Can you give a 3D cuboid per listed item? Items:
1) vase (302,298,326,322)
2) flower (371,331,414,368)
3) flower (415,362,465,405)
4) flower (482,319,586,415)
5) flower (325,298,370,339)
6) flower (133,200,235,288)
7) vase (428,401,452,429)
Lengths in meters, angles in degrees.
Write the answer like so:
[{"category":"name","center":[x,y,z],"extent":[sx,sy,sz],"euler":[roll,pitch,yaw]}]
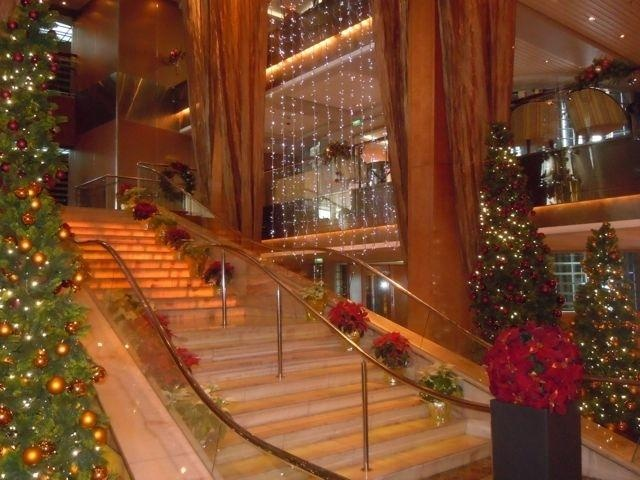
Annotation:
[{"category":"vase","center":[-0.056,0.916,7.052],"extent":[0.363,0.425,0.375],"euler":[1,-1,3]},{"category":"flower","center":[0.899,1.317,6.328],"extent":[0.424,0.335,0.441],"euler":[0,-4,9]},{"category":"flower","center":[1.403,1.648,5.910],"extent":[0.444,0.257,0.429],"euler":[13,6,43]},{"category":"flower","center":[1.325,0.722,3.210],"extent":[0.494,0.524,0.490],"euler":[0,-1,-27]},{"category":"flower","center":[0.398,1.021,6.703],"extent":[0.454,0.462,0.468],"euler":[2,-7,0]},{"category":"flower","center":[-2.503,0.023,9.564],"extent":[0.687,1.711,2.932],"euler":[-5,1,-42]},{"category":"vase","center":[1.331,1.918,5.677],"extent":[0.221,0.252,0.217],"euler":[-4,4,-11]}]
